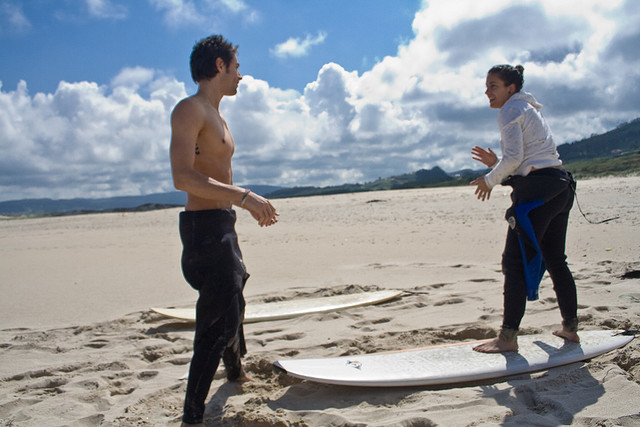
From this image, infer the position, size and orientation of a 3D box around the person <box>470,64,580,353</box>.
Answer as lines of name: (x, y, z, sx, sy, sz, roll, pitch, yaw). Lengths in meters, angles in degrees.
person: (2.195, -0.080, 5.252, 1.062, 3.051, 0.546, -6, 3, -17)

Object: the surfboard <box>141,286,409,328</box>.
surfboard: (-0.479, 1.271, 6.575, 3.050, 0.287, 0.722, -3, 7, -28)

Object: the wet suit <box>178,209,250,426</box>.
wet suit: (-1.027, 0.943, 4.672, 0.725, 1.751, 0.360, -6, 3, -12)
